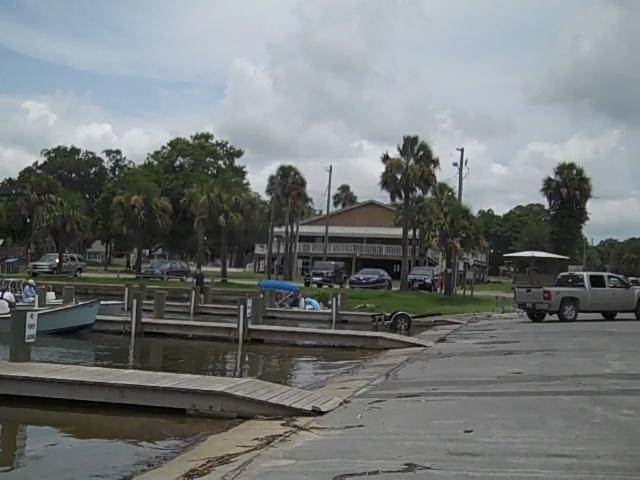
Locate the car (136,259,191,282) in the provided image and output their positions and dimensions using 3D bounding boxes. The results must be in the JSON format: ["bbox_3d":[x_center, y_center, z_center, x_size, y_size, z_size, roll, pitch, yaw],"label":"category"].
[{"bbox_3d":[-12.944,2.508,51.866,2.893,1.902,4.197,0,-7,12],"label":"car"}]

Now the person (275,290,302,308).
[{"bbox_3d":[-1.360,2.759,29.120,0.682,0.510,0.947,3,4,10],"label":"person"}]

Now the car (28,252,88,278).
[{"bbox_3d":[-21.799,2.056,50.929,2.267,2.227,5.157,0,-7,12],"label":"car"}]
